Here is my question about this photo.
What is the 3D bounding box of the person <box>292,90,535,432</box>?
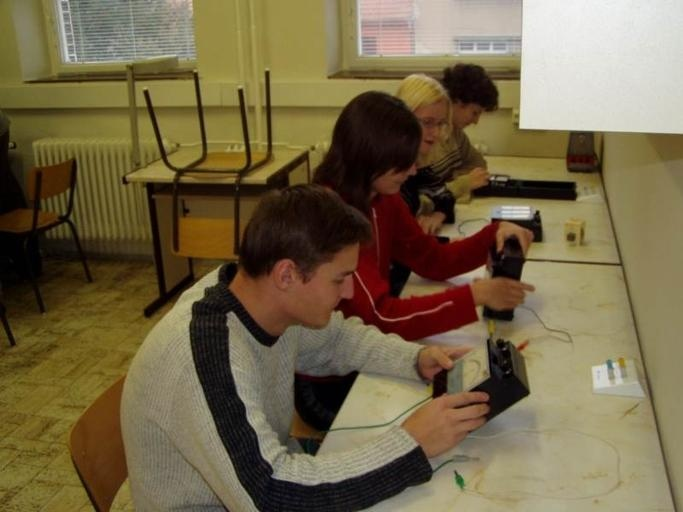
[{"bbox_3d":[0.218,0.172,1.993,0.842,1.339,0.552,5,25,18],"label":"person"}]

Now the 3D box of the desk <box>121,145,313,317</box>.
[{"bbox_3d":[-0.712,-0.264,3.543,1.091,1.194,1.129,0,-2,5],"label":"desk"}]
